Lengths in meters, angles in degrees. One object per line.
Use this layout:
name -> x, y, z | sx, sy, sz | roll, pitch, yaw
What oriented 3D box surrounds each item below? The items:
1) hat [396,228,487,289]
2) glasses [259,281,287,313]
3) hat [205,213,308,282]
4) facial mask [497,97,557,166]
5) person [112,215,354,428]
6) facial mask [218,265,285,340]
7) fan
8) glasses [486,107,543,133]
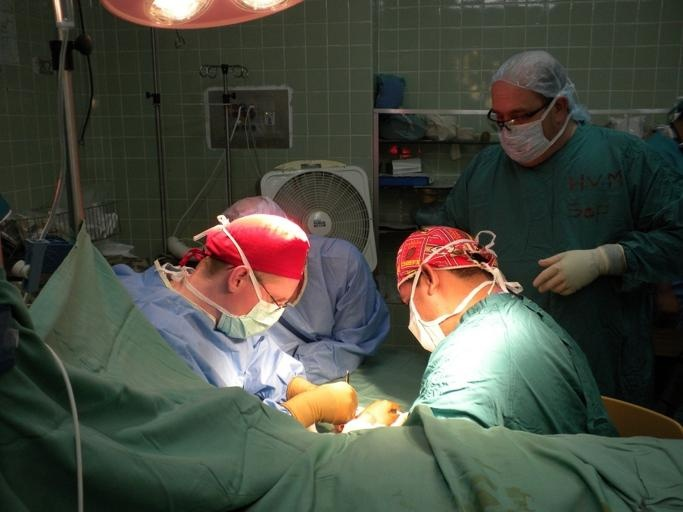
hat -> 0.306, 0.007, 2.035 | 0.215, 0.147, 0.175 | -1, 0, 28
glasses -> -0.244, 0.131, 2.269 | 0.096, 0.028, 0.092 | 53, 4, 27
hat -> -0.293, -0.040, 2.228 | 0.283, 0.162, 0.218 | 9, 1, -4
facial mask -> 0.697, -0.455, 2.475 | 0.215, 0.136, 0.187 | -43, 22, -9
person -> -0.333, 0.242, 2.480 | 0.892, 0.525, 0.703 | 28, 2, -9
facial mask -> -0.328, 0.198, 2.357 | 0.148, 0.264, 0.226 | -24, 9, -26
fan -> -0.122, -0.208, 3.406 | 0.566, 0.666, 0.236 | 0, 15, 0
glasses -> 0.652, -0.535, 2.529 | 0.146, 0.086, 0.304 | -4, 9, -19
